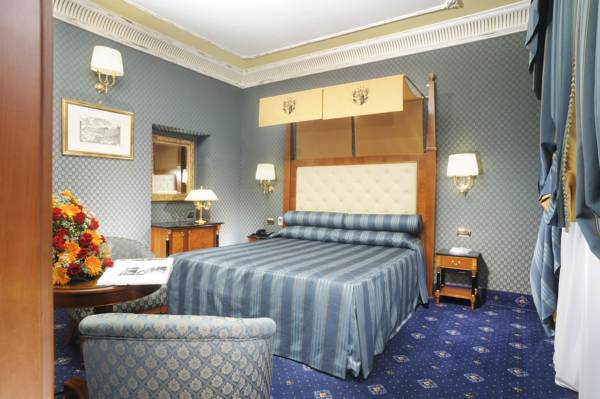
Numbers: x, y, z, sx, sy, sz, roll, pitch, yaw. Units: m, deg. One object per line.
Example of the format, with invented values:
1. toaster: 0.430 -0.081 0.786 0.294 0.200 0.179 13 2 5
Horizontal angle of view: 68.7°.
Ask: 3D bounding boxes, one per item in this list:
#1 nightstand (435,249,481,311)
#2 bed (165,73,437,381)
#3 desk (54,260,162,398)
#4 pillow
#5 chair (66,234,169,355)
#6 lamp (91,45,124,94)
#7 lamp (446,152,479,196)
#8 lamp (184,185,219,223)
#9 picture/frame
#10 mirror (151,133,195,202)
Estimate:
1. nightstand: 2.018 0.981 5.606 0.539 0.669 0.527 5 12 24
2. bed: 0.378 -0.080 5.241 2.231 2.864 3.007 5 12 24
3. desk: -1.402 1.035 3.748 0.927 1.016 0.976 -1 -3 -6
4. pillow: 0.727 0.340 6.008 1.631 0.290 0.260 1 -3 26
5. chair: -1.871 0.992 4.905 1.056 1.397 1.232 4 -11 -38
6. lamp: -2.441 -1.613 5.531 0.338 0.499 0.303 4 -13 -4
7. lamp: 2.100 -0.310 5.651 0.349 0.535 0.357 -1 -6 12
8. lamp: -1.529 0.068 6.764 0.496 0.572 0.503 1 -3 -8
9. picture/frame: -2.654 -0.915 5.628 0.063 0.733 0.881 -1 -2 38
10. mirror: -2.025 -0.490 6.850 0.085 1.221 1.019 -2 -4 29
